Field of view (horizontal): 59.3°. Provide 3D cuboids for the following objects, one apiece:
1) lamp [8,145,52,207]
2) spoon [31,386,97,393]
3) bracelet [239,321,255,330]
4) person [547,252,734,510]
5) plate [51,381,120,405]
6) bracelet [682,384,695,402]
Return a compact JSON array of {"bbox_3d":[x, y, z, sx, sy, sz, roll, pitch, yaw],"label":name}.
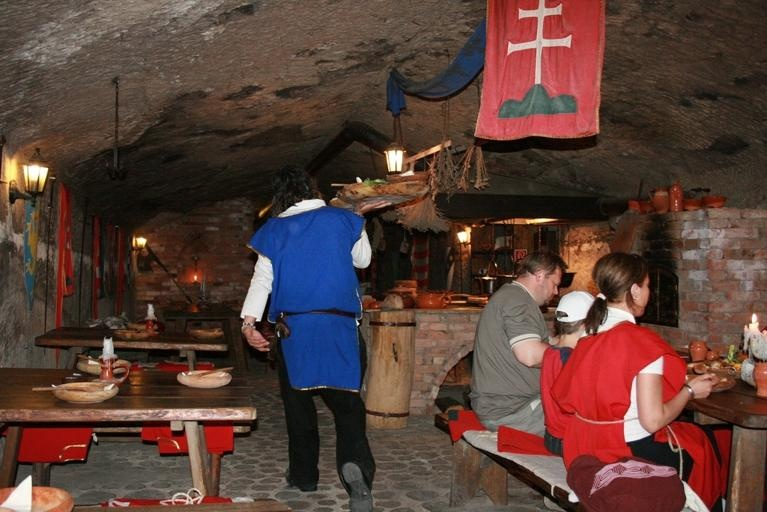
[{"bbox_3d":[-3.457,-0.766,6.447,0.275,0.537,0.499,2,6,25],"label":"lamp"},{"bbox_3d":[-2.120,0.887,4.490,0.402,0.043,0.054,3,7,-8],"label":"spoon"},{"bbox_3d":[-1.097,0.551,5.431,0.129,0.095,0.117,2,-5,-9],"label":"bracelet"},{"bbox_3d":[1.676,0.866,4.509,1.160,1.768,0.630,0,6,11],"label":"person"},{"bbox_3d":[-1.979,0.902,4.492,0.356,0.097,0.269,0,5,15],"label":"plate"},{"bbox_3d":[2.005,0.890,4.397,0.095,0.026,0.095,39,4,-24],"label":"bracelet"}]
